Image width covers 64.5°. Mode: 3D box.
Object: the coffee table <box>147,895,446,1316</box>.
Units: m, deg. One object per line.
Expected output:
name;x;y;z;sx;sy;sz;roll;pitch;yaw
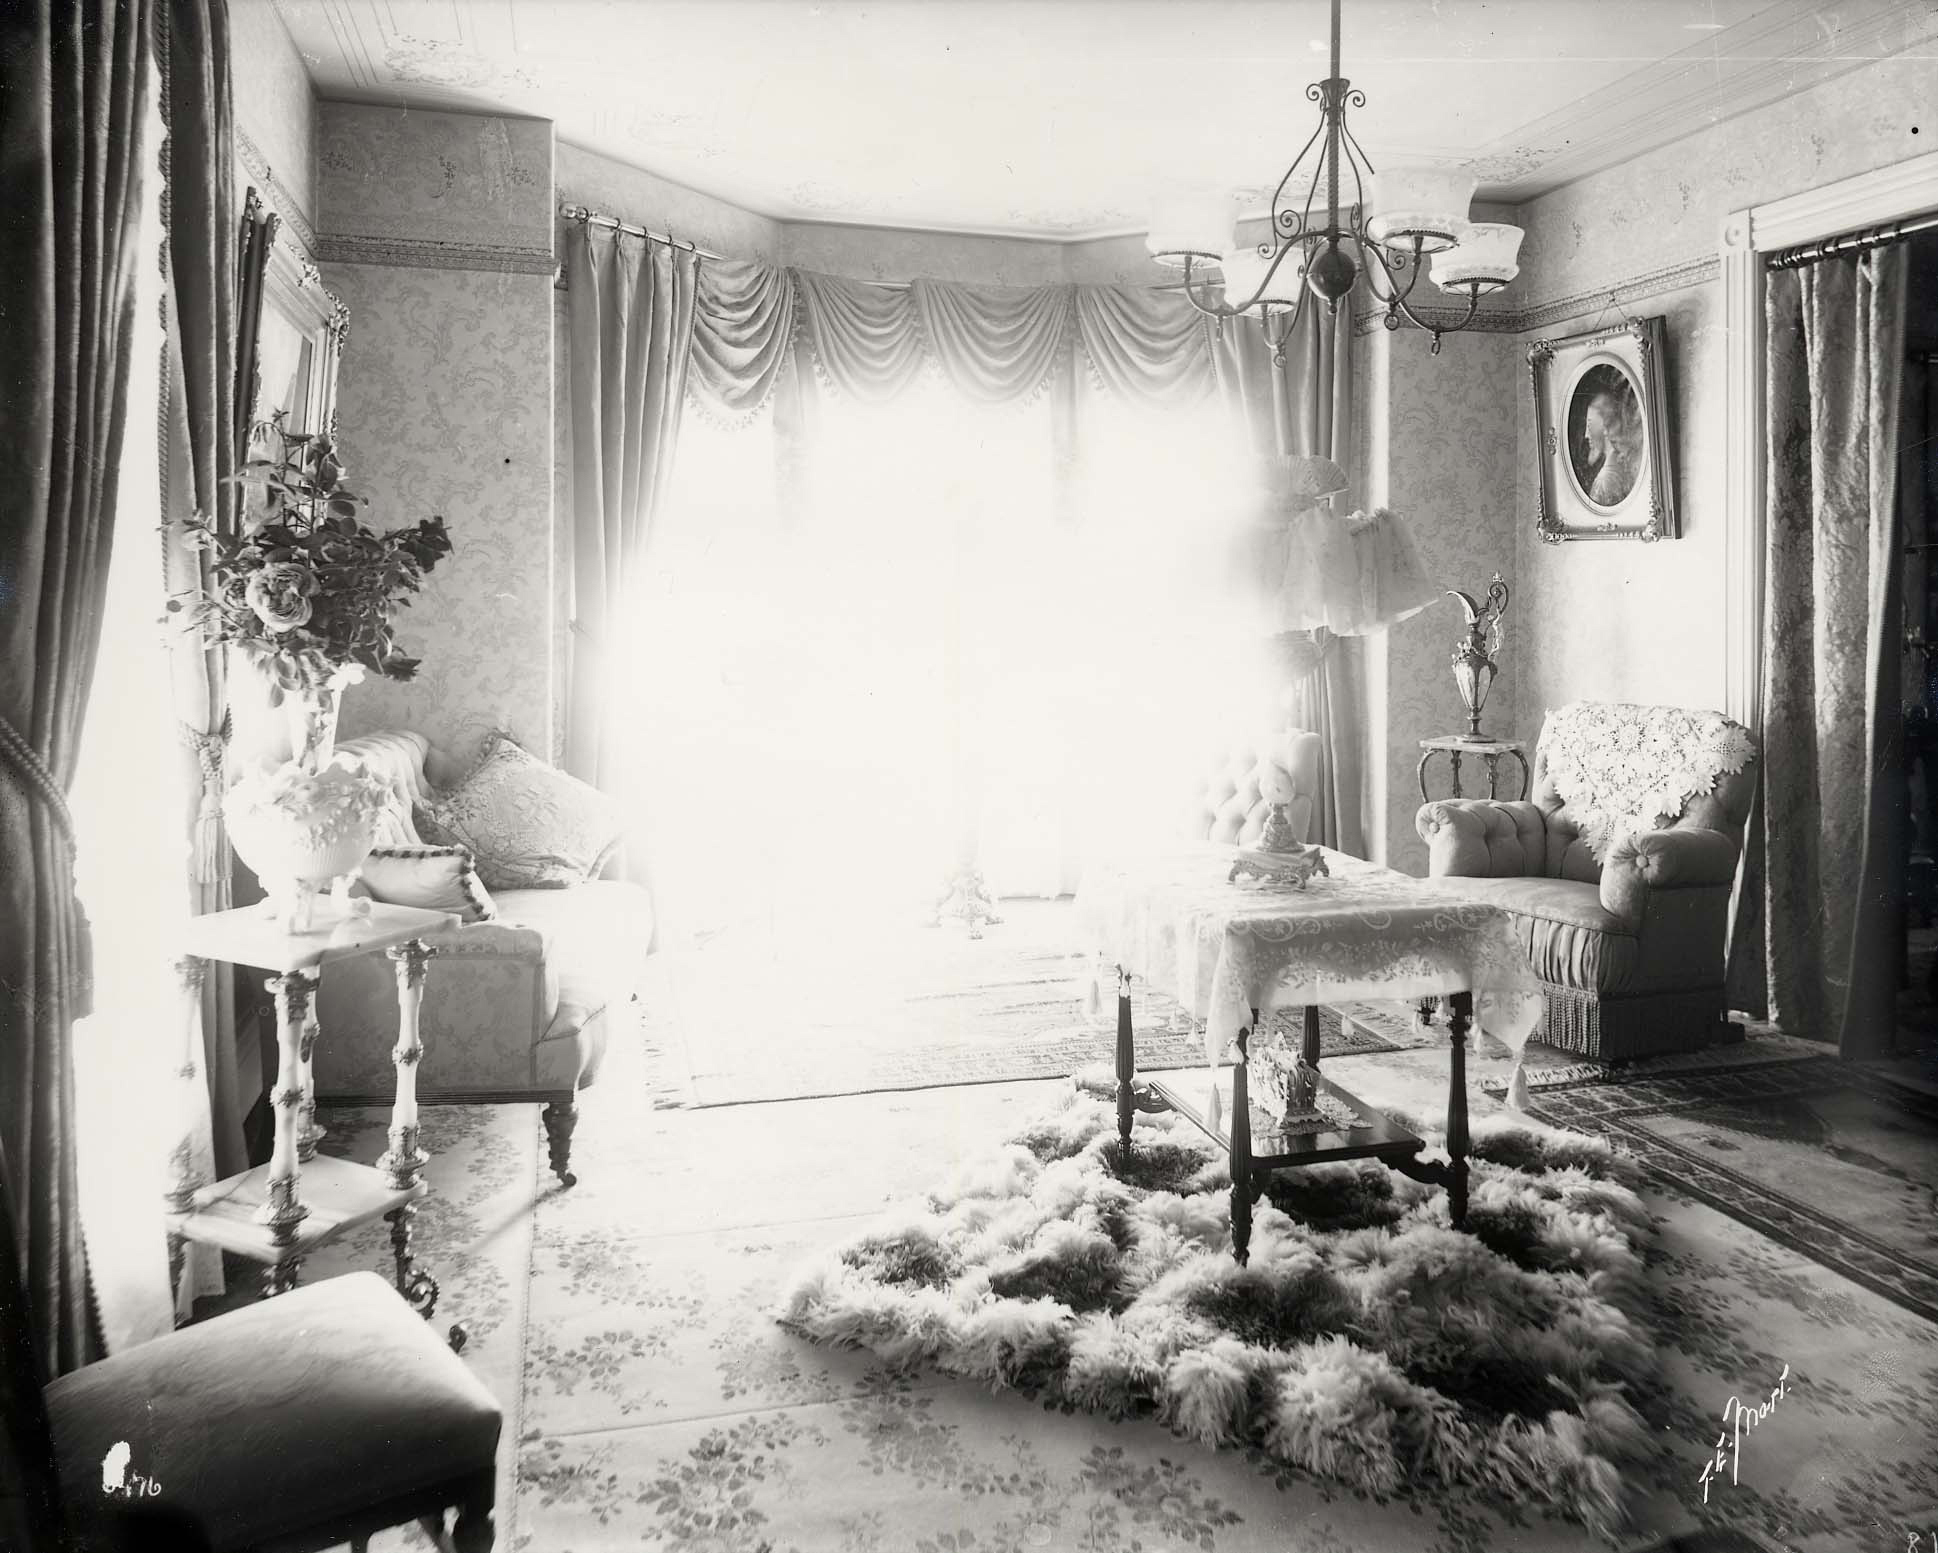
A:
coffee table;-1.663;0.834;3.824;0.681;1.005;0.665;1;5;-38

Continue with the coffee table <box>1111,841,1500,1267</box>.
coffee table;0.966;0.538;4.340;0.861;0.907;1.246;-1;3;-12

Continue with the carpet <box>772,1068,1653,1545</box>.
carpet;0.730;1.289;3.892;1.989;0.201;1.369;2;9;17

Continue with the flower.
flower;-1.601;-0.490;3.848;0.750;0.369;0.734;-5;8;5

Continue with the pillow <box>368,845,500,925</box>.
pillow;-1.569;0.309;4.502;0.275;0.089;0.237;-1;26;-42

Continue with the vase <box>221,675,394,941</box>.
vase;-1.638;0.054;3.842;0.350;0.665;0.345;0;3;15

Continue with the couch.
couch;-1.604;-0.024;4.987;1.031;1.219;2.435;-1;9;-15

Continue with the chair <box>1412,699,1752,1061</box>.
chair;2.390;0.380;6.075;0.707;1.325;1.268;-1;4;-20
